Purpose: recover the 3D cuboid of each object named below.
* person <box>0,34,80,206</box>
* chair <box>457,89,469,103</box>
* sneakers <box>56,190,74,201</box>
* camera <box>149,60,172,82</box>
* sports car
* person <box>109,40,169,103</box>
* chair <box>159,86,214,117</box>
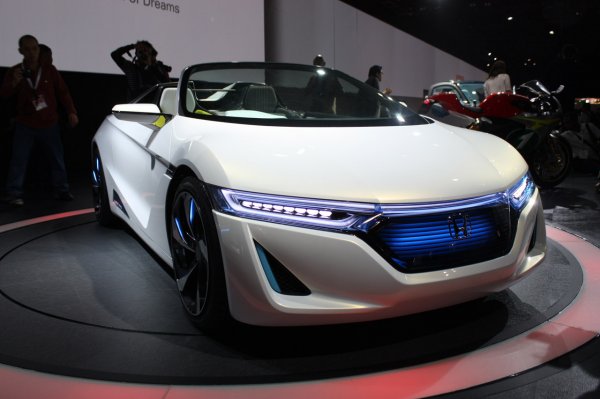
[{"bbox_3d":[-3.622,-1.090,5.047,0.949,2.223,0.479,-9,17,-32],"label":"person"},{"bbox_3d":[3.127,-1.973,6.988,0.167,0.240,0.201,9,5,-11],"label":"chair"},{"bbox_3d":[-3.368,-0.053,5.271,0.289,0.112,0.119,12,23,31],"label":"sneakers"},{"bbox_3d":[-2.304,-2.129,6.057,0.120,0.318,0.334,-33,23,-11],"label":"camera"},{"bbox_3d":[-0.264,0.029,2.830,1.982,1.114,2.944,-3,8,-26],"label":"sports car"},{"bbox_3d":[-2.586,-2.146,5.982,0.906,0.928,0.405,18,6,-34],"label":"person"},{"bbox_3d":[-1.065,-0.893,3.171,0.245,0.255,0.192,-22,-4,40],"label":"chair"}]
